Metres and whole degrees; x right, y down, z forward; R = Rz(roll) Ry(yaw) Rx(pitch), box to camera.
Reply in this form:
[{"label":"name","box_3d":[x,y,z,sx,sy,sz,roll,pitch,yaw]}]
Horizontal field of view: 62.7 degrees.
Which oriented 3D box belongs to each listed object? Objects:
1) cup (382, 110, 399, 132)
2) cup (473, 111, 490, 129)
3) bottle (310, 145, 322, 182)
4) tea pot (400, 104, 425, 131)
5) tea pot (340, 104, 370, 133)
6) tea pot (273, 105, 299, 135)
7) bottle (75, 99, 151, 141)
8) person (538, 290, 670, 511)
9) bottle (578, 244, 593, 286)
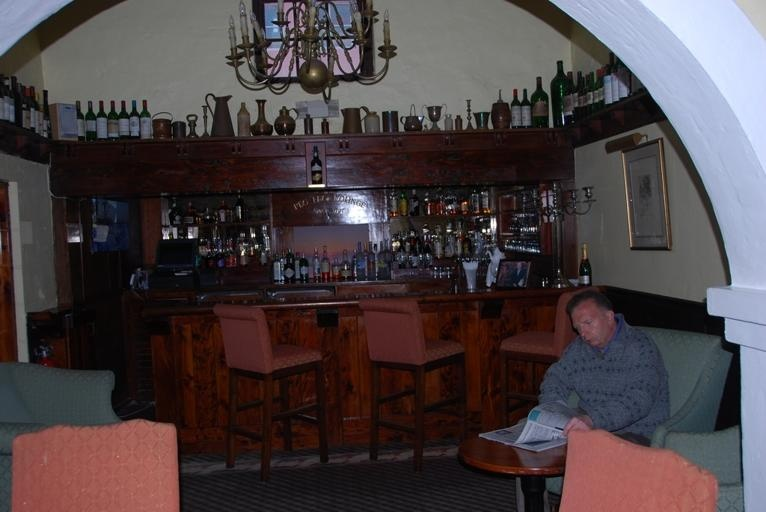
[{"label":"cup","box_3d":[0.078,-1.420,6.641,0.201,0.243,0.212,-1,-1,0]},{"label":"cup","box_3d":[1.053,-1.456,6.793,0.193,0.223,0.204,-1,7,0]},{"label":"bottle","box_3d":[-0.697,-0.943,6.528,0.124,0.380,0.107,-3,14,-8]},{"label":"tea pot","box_3d":[0.322,-1.492,6.778,0.331,0.366,0.241,-1,9,5]},{"label":"tea pot","box_3d":[-0.327,-1.447,6.656,0.354,0.360,0.226,-3,6,-23]},{"label":"tea pot","box_3d":[-1.028,-1.428,6.603,0.269,0.394,0.280,0,10,0]},{"label":"bottle","box_3d":[-2.863,-1.418,6.588,0.472,0.321,0.097,-2,-1,-5]},{"label":"person","box_3d":[1.392,0.664,3.831,0.906,1.082,0.762,-16,7,-32]},{"label":"bottle","box_3d":[1.964,0.084,6.070,0.120,0.416,0.684,4,16,18]}]
